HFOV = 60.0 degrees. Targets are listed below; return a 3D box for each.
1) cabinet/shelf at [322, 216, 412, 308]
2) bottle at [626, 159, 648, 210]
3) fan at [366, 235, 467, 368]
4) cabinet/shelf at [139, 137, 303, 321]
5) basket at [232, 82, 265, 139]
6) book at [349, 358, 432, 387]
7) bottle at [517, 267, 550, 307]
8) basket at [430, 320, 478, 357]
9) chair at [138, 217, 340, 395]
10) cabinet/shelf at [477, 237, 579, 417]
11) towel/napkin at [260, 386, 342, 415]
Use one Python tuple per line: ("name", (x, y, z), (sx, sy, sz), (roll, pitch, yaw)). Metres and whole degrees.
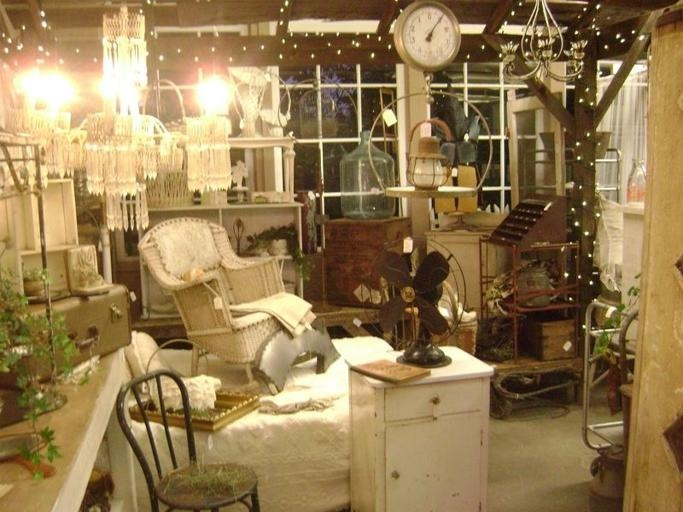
("cabinet/shelf", (0.218, 0.046, 6.090), (0.788, 0.981, 0.887), (0, 4, 13))
("bottle", (2.478, -0.623, 4.947), (0.127, 0.399, 0.462), (0, 4, 25))
("fan", (0.500, 0.284, 3.719), (0.478, 0.781, 0.313), (7, 19, 29))
("cabinet/shelf", (-1.118, -0.176, 5.343), (1.665, 2.122, 0.619), (0, 2, -5))
("basket", (-0.956, -1.539, 6.118), (0.306, 0.709, 0.813), (-2, 4, -9))
("book", (0.266, 0.675, 3.463), (0.295, 0.067, 0.476), (-5, 4, -39))
("bottle", (1.756, 0.273, 5.350), (0.340, 0.395, 0.268), (1, 1, -4))
("basket", (0.846, 0.609, 4.386), (0.229, 0.433, 0.411), (-1, 4, -3))
("chair", (-0.803, 0.428, 5.192), (1.639, 1.583, 1.240), (5, 12, 26))
("cabinet/shelf", (1.774, 0.624, 5.599), (1.102, 1.619, 0.719), (-3, 4, -20))
("towel/napkin", (-0.292, 0.988, 4.016), (0.324, 0.089, 0.224), (-10, -2, -21))
